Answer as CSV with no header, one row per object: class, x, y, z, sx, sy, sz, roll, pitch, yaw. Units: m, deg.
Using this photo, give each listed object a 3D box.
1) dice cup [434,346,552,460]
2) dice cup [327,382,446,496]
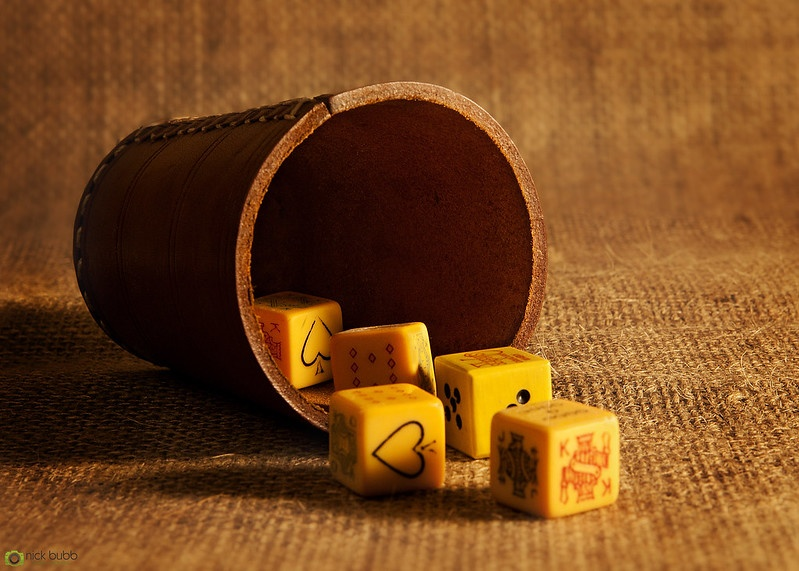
dice cup,0.172,0.220,1.627,0.214,0.169,0.222,-1,9,0
dice cup,-0.022,0.259,1.442,0.195,0.155,0.148,-7,33,-5
